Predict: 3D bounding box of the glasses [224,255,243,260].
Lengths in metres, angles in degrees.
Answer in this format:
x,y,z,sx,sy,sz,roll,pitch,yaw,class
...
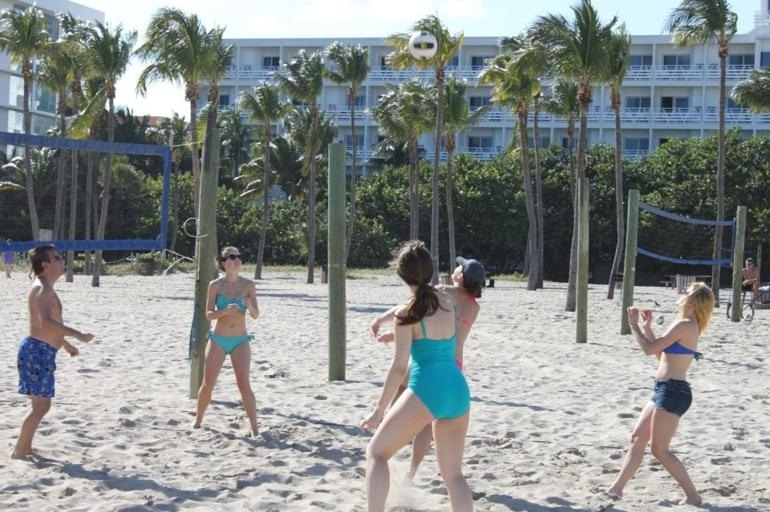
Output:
x,y,z,sx,sy,sz,roll,pitch,yaw,class
-3.065,0.019,22.573,0.196,0.074,0.206,2,-10,-32,glasses

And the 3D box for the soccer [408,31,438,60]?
x,y,z,sx,sy,sz,roll,pitch,yaw,class
0.943,-5.463,29.365,0.659,0.713,0.540,0,4,4,soccer

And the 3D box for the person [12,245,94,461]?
x,y,z,sx,sy,sz,roll,pitch,yaw,class
-6.493,1.814,21.442,1.119,4.057,0.311,2,1,2,person
